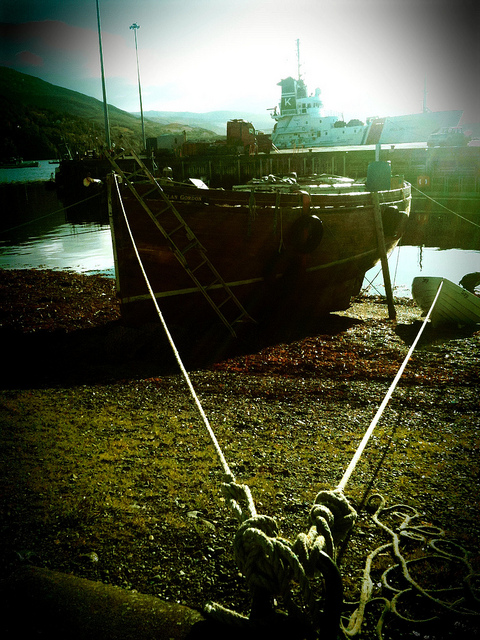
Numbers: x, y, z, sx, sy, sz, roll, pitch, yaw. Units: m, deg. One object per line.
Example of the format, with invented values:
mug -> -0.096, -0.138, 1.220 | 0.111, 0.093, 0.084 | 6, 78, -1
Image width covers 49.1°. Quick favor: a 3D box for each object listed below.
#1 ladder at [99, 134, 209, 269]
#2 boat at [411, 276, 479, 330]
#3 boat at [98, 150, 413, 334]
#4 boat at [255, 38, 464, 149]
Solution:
ladder -> -1.431, -1.688, 7.549 | 1.178, 1.805, 1.703 | -8, 14, -33
boat -> 3.327, -0.327, 8.584 | 0.839, 0.810, 0.923 | -3, 12, -15
boat -> 0.329, -1.120, 8.337 | 6.368, 2.627, 2.574 | -11, 20, -41
boat -> 9.214, -17.614, 42.229 | 15.810, 7.922, 4.618 | 8, 18, 27
